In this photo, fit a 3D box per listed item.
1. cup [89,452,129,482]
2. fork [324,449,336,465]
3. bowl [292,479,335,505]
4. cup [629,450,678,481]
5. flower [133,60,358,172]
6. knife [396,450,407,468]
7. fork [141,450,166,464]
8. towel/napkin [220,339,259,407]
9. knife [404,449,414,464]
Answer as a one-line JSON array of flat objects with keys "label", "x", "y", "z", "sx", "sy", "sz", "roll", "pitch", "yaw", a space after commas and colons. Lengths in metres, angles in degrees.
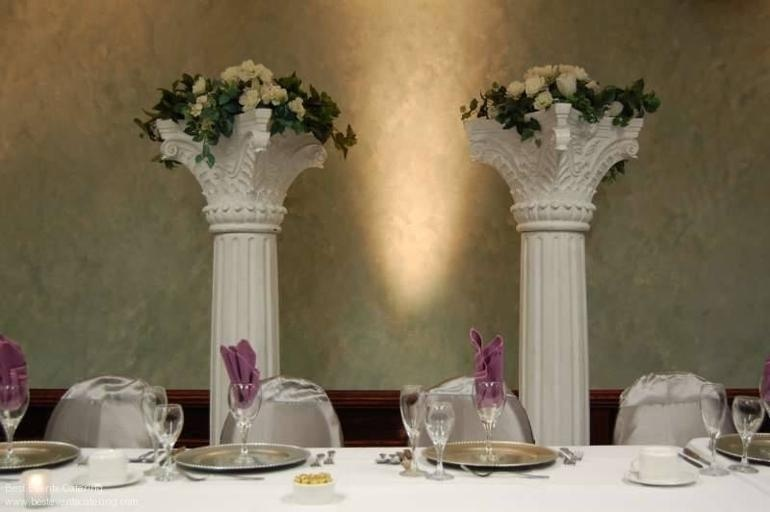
[{"label": "cup", "x": -1.587, "y": 1.202, "z": 6.141, "sx": 0.165, "sy": 0.127, "sz": 0.169, "roll": -1, "pitch": -8, "yaw": 0}, {"label": "fork", "x": -0.334, "y": 1.201, "z": 6.456, "sx": 0.059, "sy": 0.060, "sz": 0.058, "roll": 4, "pitch": -13, "yaw": -7}, {"label": "bowl", "x": -0.397, "y": 1.312, "z": 6.006, "sx": 0.249, "sy": 0.124, "sz": 0.131, "roll": -1, "pitch": -10, "yaw": -6}, {"label": "cup", "x": 1.566, "y": 1.191, "z": 6.209, "sx": 0.169, "sy": 0.128, "sz": 0.175, "roll": 0, "pitch": -8, "yaw": 0}, {"label": "flower", "x": -1.022, "y": -0.985, "z": 7.889, "sx": 1.529, "sy": 0.730, "sz": 0.633, "roll": -2, "pitch": -10, "yaw": 0}, {"label": "knife", "x": 0.106, "y": 1.191, "z": 6.339, "sx": 0.063, "sy": 0.077, "sz": 0.077, "roll": -7, "pitch": -19, "yaw": 22}, {"label": "fork", "x": -1.390, "y": 1.195, "z": 6.424, "sx": 0.063, "sy": 0.073, "sz": 0.211, "roll": 3, "pitch": -7, "yaw": 21}, {"label": "towel/napkin", "x": -0.888, "y": 0.640, "z": 6.510, "sx": 0.136, "sy": 0.249, "sz": 0.150, "roll": -7, "pitch": -18, "yaw": 17}, {"label": "knife", "x": 0.135, "y": 1.170, "z": 6.309, "sx": 0.048, "sy": 0.071, "sz": 0.025, "roll": -3, "pitch": -38, "yaw": 9}]
